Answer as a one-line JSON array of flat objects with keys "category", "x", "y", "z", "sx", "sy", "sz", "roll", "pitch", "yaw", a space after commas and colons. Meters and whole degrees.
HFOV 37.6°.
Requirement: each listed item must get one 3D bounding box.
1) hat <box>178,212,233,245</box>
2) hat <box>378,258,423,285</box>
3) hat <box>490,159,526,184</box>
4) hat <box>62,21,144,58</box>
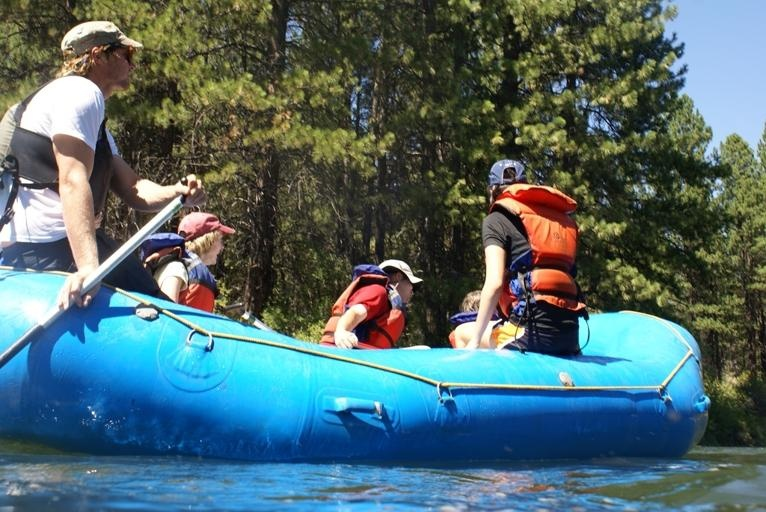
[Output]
[{"category": "hat", "x": -2.121, "y": -0.342, "z": 13.282, "sx": 0.496, "sy": 0.316, "sz": 0.335, "roll": 2, "pitch": 3, "yaw": -22}, {"category": "hat", "x": 0.225, "y": 0.158, "z": 13.857, "sx": 0.434, "sy": 0.217, "sz": 0.315, "roll": 23, "pitch": -6, "yaw": -6}, {"category": "hat", "x": 1.448, "y": -0.982, "z": 13.219, "sx": 0.338, "sy": 0.332, "sz": 0.265, "roll": -26, "pitch": 3, "yaw": 8}, {"category": "hat", "x": -3.023, "y": -2.300, "z": 11.897, "sx": 0.616, "sy": 0.280, "sz": 0.434, "roll": -8, "pitch": 10, "yaw": -18}]
